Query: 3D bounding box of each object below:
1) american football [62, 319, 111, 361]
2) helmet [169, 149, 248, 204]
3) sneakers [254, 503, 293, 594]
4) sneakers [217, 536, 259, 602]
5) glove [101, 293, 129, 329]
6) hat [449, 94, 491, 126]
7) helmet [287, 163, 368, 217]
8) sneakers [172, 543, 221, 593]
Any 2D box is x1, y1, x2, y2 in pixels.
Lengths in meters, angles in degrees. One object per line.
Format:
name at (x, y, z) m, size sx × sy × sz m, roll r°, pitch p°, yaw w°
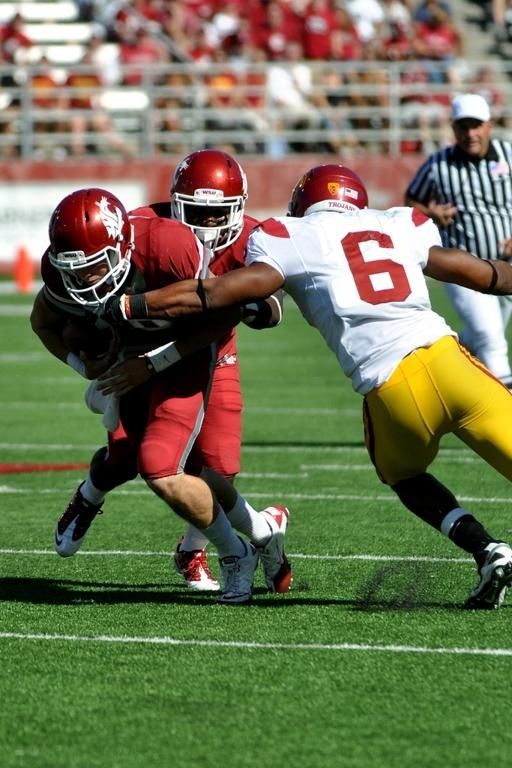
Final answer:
american football at (-0.570, -0.154, 2.745) m, size 0.129 × 0.090 × 0.112 m, roll 34°, pitch -9°, yaw -31°
helmet at (-0.187, -0.763, 3.105) m, size 0.245 × 0.207 × 0.285 m, roll 3°, pitch -5°, yaw -8°
sneakers at (0.064, 0.582, 2.846) m, size 0.107 × 0.280 × 0.149 m, roll -14°, pitch -4°, yaw 40°
sneakers at (-0.053, 0.606, 2.723) m, size 0.092 × 0.228 × 0.121 m, roll -3°, pitch -16°, yaw 32°
glove at (-0.397, -0.212, 2.278) m, size 0.069 × 0.076 × 0.140 m, roll 0°, pitch 1°, yaw -12°
hat at (1.291, -1.649, 4.861) m, size 0.180 × 0.118 × 0.235 m, roll 1°, pitch 4°, yaw 15°
helmet at (0.241, -0.636, 2.720) m, size 0.197 × 0.177 × 0.230 m, roll 19°, pitch 13°, yaw -12°
sneakers at (-0.193, 0.660, 2.960) m, size 0.092 × 0.101 × 0.250 m, roll -20°, pitch 42°, yaw -35°
